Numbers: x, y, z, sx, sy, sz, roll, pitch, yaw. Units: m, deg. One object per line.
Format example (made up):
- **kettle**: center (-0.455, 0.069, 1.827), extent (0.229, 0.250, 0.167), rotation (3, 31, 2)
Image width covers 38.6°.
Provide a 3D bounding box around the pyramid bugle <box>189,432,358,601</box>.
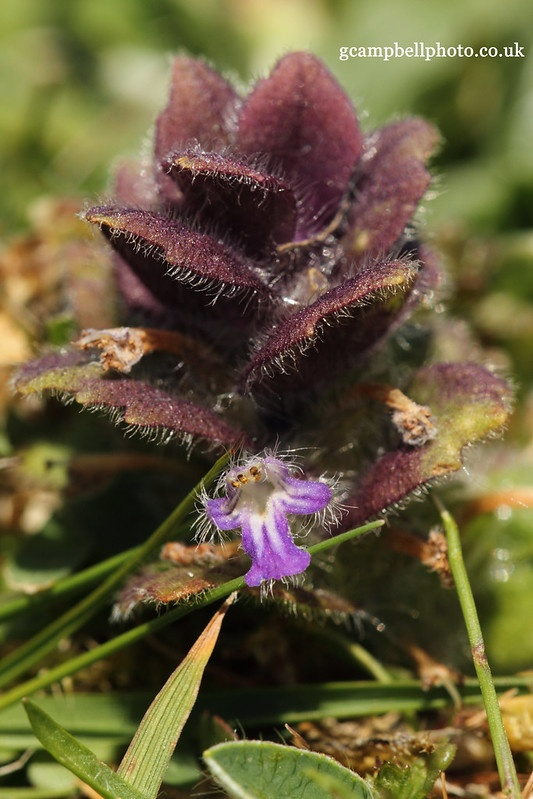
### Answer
- **pyramid bugle**: center (0.003, 0.166, 1.007), extent (0.196, 0.075, 0.183), rotation (-5, 76, -11)
